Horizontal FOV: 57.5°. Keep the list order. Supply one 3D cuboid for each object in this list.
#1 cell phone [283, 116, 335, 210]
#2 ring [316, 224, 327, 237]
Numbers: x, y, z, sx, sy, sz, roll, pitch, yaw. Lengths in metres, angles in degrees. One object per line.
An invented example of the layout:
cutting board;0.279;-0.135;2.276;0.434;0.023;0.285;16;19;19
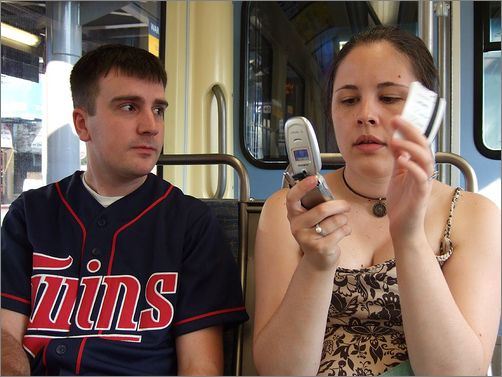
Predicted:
cell phone;0.167;-0.048;1.367;0.117;0.372;0.052;3;34;24
ring;0.207;0.126;1.338;0.014;0.032;0.022;-33;6;-39
